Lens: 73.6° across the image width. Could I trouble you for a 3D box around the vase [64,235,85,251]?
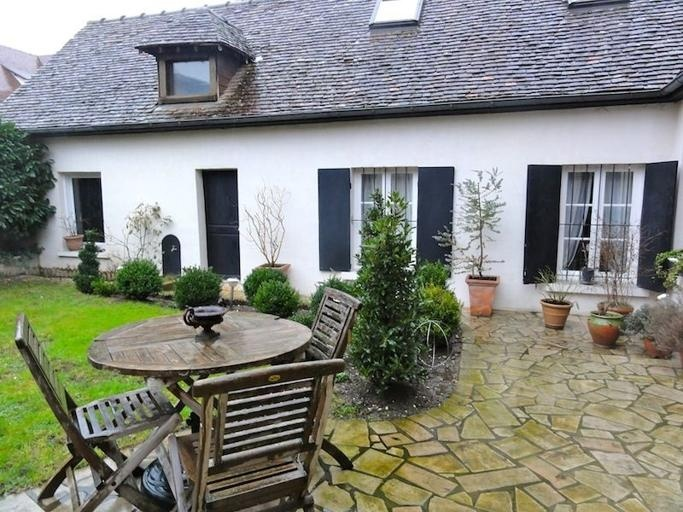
[{"bbox_3d":[-6.592,-0.357,11.302,0.383,0.315,0.395,-1,4,-15],"label":"vase"}]
